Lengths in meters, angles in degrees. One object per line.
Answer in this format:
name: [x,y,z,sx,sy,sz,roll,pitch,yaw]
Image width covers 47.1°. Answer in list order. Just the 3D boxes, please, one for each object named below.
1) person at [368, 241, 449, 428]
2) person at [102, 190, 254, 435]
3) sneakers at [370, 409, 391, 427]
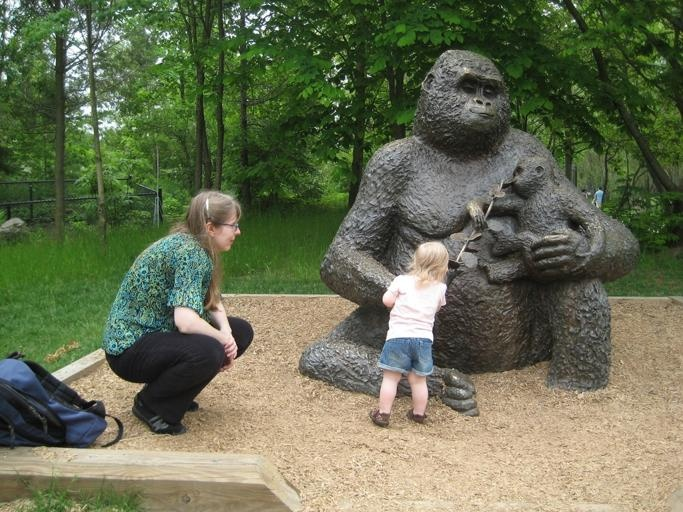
person: [0.561,0.655,6.500,0.589,1.550,0.255,2,8,5]
person: [-1.319,0.460,6.215,1.072,1.956,0.460,-1,8,-19]
sneakers: [0.328,1.364,6.560,0.098,0.117,0.167,4,14,-18]
